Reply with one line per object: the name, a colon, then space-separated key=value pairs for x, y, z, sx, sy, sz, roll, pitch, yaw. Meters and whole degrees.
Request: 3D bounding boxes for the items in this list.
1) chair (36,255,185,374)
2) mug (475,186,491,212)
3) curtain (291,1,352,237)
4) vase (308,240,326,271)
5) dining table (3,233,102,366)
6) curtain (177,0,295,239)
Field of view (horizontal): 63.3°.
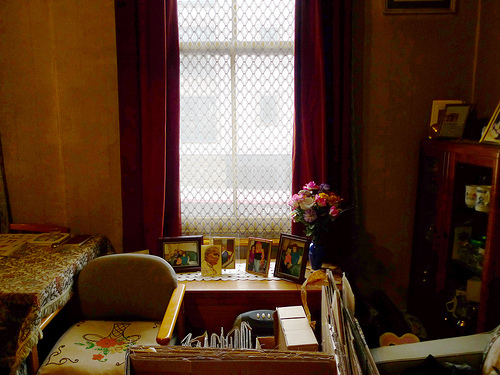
chair: x=-0.778 y=0.750 z=2.461 sx=0.562 sy=0.793 sz=0.627 roll=1 pitch=7 yaw=-1
mug: x=1.390 y=0.070 z=2.405 sx=0.073 sy=0.156 sz=0.188 roll=0 pitch=1 yaw=25
curtain: x=0.515 y=-0.595 z=2.883 sx=0.424 sy=1.426 sz=0.216 roll=0 pitch=1 yaw=12
vase: x=0.470 y=0.483 z=2.909 sx=0.117 sy=0.224 sz=0.133 roll=2 pitch=-1 yaw=7
dining table: x=-1.244 y=0.596 z=2.501 sx=0.619 sy=0.534 sz=0.834 roll=0 pitch=0 yaw=-21
curtain: x=-0.106 y=-0.491 z=3.072 sx=0.859 sy=1.783 sz=0.192 roll=0 pitch=1 yaw=0
